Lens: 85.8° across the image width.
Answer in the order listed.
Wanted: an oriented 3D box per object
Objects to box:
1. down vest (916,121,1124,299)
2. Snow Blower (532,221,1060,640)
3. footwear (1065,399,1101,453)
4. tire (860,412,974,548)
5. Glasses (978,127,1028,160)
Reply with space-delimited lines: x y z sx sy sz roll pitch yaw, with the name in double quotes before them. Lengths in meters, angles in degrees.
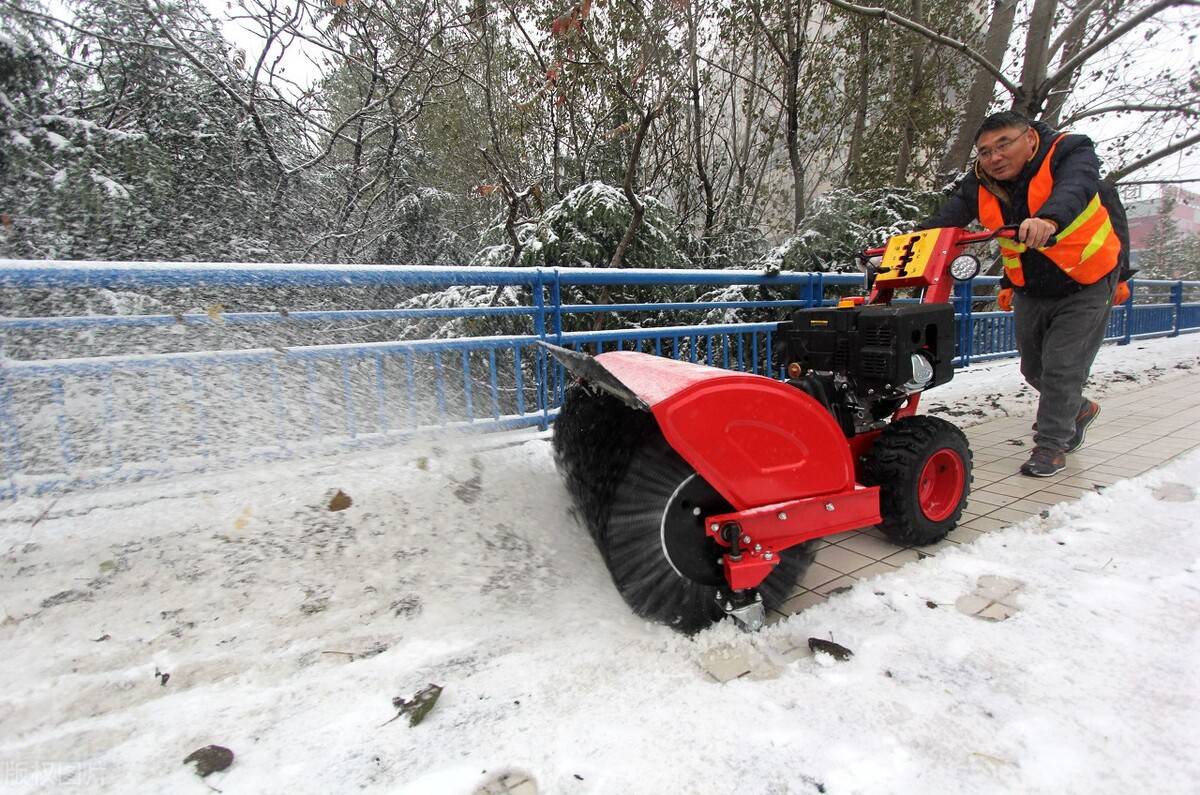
"down vest" 3.018 -1.247 4.702 1.249 1.135 1.309 -13 7 24
"Snow Blower" 1.149 0.028 4.163 2.948 1.827 1.883 -11 16 -20
"footwear" 3.776 0.239 5.091 0.145 0.416 0.170 28 -12 42
"tire" 2.042 0.534 4.138 0.929 0.815 0.290 -8 13 -40
"Glasses" 2.798 -1.720 4.500 0.294 0.109 0.215 -7 -7 -39
